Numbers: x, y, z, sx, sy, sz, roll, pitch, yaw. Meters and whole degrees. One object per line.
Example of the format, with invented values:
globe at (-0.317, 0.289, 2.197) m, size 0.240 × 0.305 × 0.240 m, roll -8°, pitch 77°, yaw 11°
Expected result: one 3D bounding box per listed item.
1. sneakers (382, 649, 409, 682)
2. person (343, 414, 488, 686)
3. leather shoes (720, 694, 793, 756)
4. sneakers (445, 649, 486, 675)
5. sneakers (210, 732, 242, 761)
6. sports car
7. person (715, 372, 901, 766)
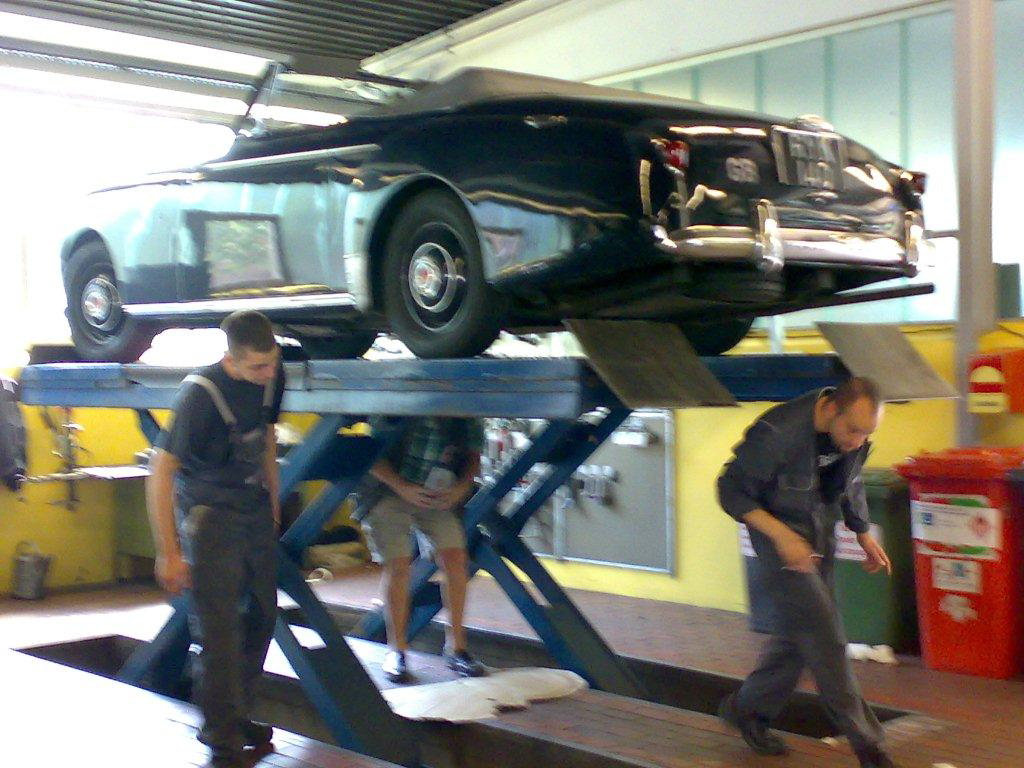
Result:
sneakers at (-0.699, 1.694, 5.138) m, size 0.103 × 0.090 × 0.240 m, roll 1°, pitch 4°, yaw -17°
person at (-0.499, 0.955, 5.161) m, size 0.805 × 1.634 × 0.751 m, roll -6°, pitch 8°, yaw -10°
leather shoes at (1.201, 1.720, 4.300) m, size 0.304 × 0.161 × 0.097 m, roll 16°, pitch 7°, yaw 41°
sneakers at (-0.265, 1.710, 5.285) m, size 0.288 × 0.101 × 0.105 m, roll 2°, pitch 0°, yaw 37°
sneakers at (-1.334, 1.694, 4.005) m, size 0.135 × 0.107 × 0.092 m, roll -6°, pitch 8°, yaw -20°
sports car at (-0.410, -1.169, 5.641) m, size 5.666 × 1.324 × 2.726 m, roll 3°, pitch 12°, yaw 42°
person at (1.501, 0.937, 4.168) m, size 0.801 × 1.933 × 0.715 m, roll 2°, pitch 10°, yaw 39°
